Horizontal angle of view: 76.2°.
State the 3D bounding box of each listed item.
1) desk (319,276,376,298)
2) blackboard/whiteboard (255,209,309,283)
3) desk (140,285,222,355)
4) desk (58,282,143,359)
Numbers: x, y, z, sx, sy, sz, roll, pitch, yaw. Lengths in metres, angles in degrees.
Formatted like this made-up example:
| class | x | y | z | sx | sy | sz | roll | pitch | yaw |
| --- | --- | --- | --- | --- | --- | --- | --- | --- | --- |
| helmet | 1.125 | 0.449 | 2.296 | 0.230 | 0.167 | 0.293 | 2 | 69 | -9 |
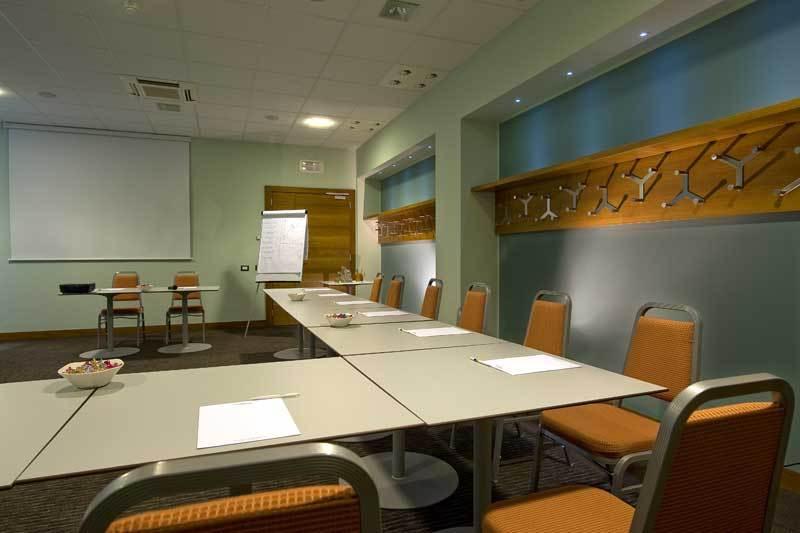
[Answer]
| class | x | y | z | sx | sy | sz | roll | pitch | yaw |
| --- | --- | --- | --- | --- | --- | --- | --- | --- | --- |
| desk | -0.908 | 0.324 | 8.274 | 0.524 | 0.294 | 0.504 | -1 | 1 | -29 |
| blackboard/whiteboard | -1.756 | -0.274 | 7.609 | 0.719 | 1.042 | 0.815 | -2 | 13 | -7 |
| desk | -3.065 | 0.744 | 7.168 | 0.999 | 0.812 | 1.008 | 3 | 3 | 38 |
| desk | -3.693 | 0.721 | 6.928 | 1.235 | 1.036 | 1.178 | 0 | 3 | -13 |
